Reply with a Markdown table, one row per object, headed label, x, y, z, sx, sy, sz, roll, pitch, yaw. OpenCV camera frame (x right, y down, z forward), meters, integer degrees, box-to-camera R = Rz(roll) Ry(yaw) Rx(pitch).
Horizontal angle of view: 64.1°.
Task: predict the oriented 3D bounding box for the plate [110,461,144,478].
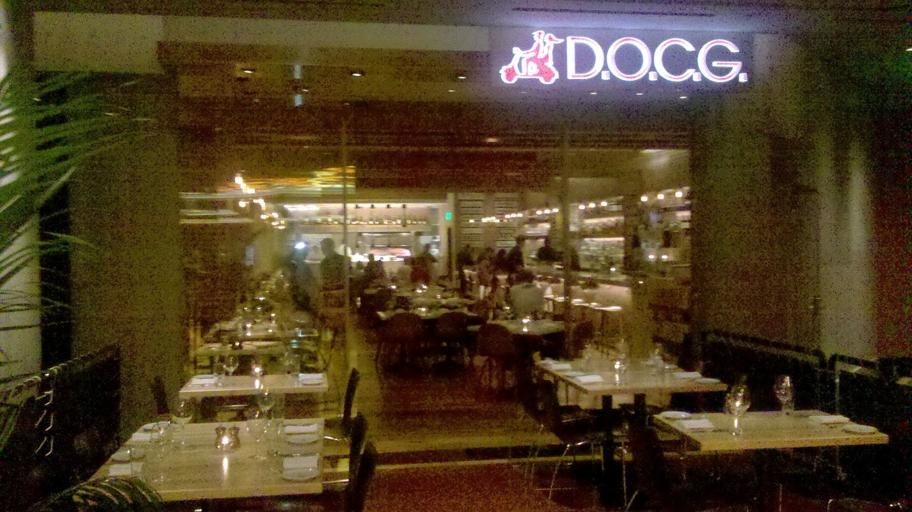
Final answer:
| label | x | y | z | sx | sy | sz | roll | pitch | yaw |
| --- | --- | --- | --- | --- | --- | --- | --- | --- | --- |
| plate | -2.745 | 1.787 | 6.068 | 0.258 | 0.090 | 0.169 | 0 | -1 | -25 |

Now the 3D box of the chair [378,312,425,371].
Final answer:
| label | x | y | z | sx | sy | sz | roll | pitch | yaw |
| --- | --- | --- | --- | --- | --- | --- | --- | --- | --- |
| chair | -0.666 | 1.041 | 8.860 | 0.568 | 0.735 | 0.462 | -1 | -1 | -7 |

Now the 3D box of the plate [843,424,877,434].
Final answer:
| label | x | y | z | sx | sy | sz | roll | pitch | yaw |
| --- | --- | --- | --- | --- | --- | --- | --- | --- | --- |
| plate | 3.640 | 1.568 | 6.586 | 0.271 | 0.042 | 0.225 | 0 | -2 | -31 |

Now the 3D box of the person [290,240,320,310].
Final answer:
| label | x | y | z | sx | sy | sz | roll | pitch | yaw |
| --- | --- | --- | --- | --- | --- | --- | --- | --- | --- |
| person | -1.744 | 0.246 | 8.204 | 0.294 | 0.778 | 0.435 | -1 | -1 | 3 |

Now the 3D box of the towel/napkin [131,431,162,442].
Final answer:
| label | x | y | z | sx | sy | sz | roll | pitch | yaw |
| --- | --- | --- | --- | --- | --- | --- | --- | --- | --- |
| towel/napkin | -2.751 | 1.609 | 6.466 | 0.182 | 0.044 | 0.172 | 2 | -2 | -13 |

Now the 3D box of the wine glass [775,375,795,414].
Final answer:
| label | x | y | z | sx | sy | sz | roll | pitch | yaw |
| --- | --- | --- | --- | --- | --- | --- | --- | --- | --- |
| wine glass | 3.143 | 1.321 | 6.990 | 0.150 | 0.353 | 0.311 | -2 | -1 | 29 |

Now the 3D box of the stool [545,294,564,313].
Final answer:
| label | x | y | z | sx | sy | sz | roll | pitch | yaw |
| --- | --- | --- | --- | --- | --- | --- | --- | --- | --- |
| stool | 1.190 | 0.587 | 8.877 | 0.214 | 0.200 | 0.098 | -1 | -1 | 4 |

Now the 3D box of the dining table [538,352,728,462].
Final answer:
| label | x | y | z | sx | sy | sz | roll | pitch | yaw |
| --- | --- | --- | --- | --- | --- | --- | --- | --- | --- |
| dining table | 1.707 | 1.839 | 7.668 | 1.785 | 0.761 | 1.133 | 0 | -5 | -22 |

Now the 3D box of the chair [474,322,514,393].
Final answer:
| label | x | y | z | sx | sy | sz | roll | pitch | yaw |
| --- | --- | --- | --- | --- | --- | --- | --- | --- | --- |
| chair | 0.470 | 1.243 | 8.868 | 0.506 | 0.893 | 0.837 | -1 | -1 | 1 |

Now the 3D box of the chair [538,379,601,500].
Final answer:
| label | x | y | z | sx | sy | sz | roll | pitch | yaw |
| --- | --- | --- | --- | --- | --- | --- | --- | --- | --- |
| chair | 1.226 | 1.957 | 7.847 | 0.654 | 1.041 | 1.344 | -1 | -1 | 6 |

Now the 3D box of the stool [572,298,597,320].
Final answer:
| label | x | y | z | sx | sy | sz | roll | pitch | yaw |
| --- | --- | --- | --- | --- | --- | --- | --- | --- | --- |
| stool | 1.564 | 0.656 | 8.968 | 0.144 | 0.255 | 0.480 | -1 | -1 | 26 |

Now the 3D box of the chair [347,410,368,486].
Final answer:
| label | x | y | z | sx | sy | sz | roll | pitch | yaw |
| --- | --- | --- | --- | --- | --- | --- | --- | --- | --- |
| chair | -0.847 | 1.651 | 6.280 | 0.145 | 0.576 | 0.160 | 5 | -22 | -1 |

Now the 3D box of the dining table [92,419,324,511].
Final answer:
| label | x | y | z | sx | sy | sz | roll | pitch | yaw |
| --- | --- | --- | --- | --- | --- | --- | --- | --- | --- |
| dining table | -2.042 | 1.740 | 6.358 | 1.829 | 0.558 | 0.886 | -1 | -1 | -2 |

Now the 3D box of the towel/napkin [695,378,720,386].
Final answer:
| label | x | y | z | sx | sy | sz | roll | pitch | yaw |
| --- | --- | --- | --- | --- | --- | --- | --- | --- | --- |
| towel/napkin | 2.579 | 1.281 | 7.483 | 0.230 | 0.042 | 0.250 | -1 | -1 | 13 |
